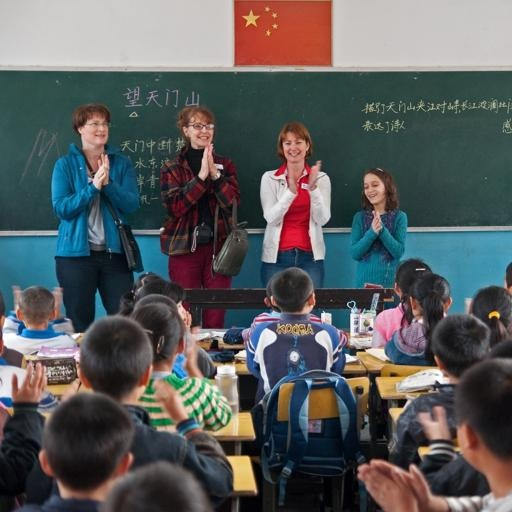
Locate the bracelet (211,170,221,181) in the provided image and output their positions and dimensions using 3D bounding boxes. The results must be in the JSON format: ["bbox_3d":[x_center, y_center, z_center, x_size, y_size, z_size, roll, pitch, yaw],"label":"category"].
[{"bbox_3d":[-0.237,-0.482,3.498,0.022,0.063,0.060,23,22,10],"label":"bracelet"}]

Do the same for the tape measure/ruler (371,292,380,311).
[{"bbox_3d":[0.622,0.262,3.042,0.035,0.134,0.019,7,29,14],"label":"tape measure/ruler"}]

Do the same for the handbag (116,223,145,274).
[{"bbox_3d":[-0.780,-0.044,3.577,0.062,0.303,0.274,-16,-7,2],"label":"handbag"}]
